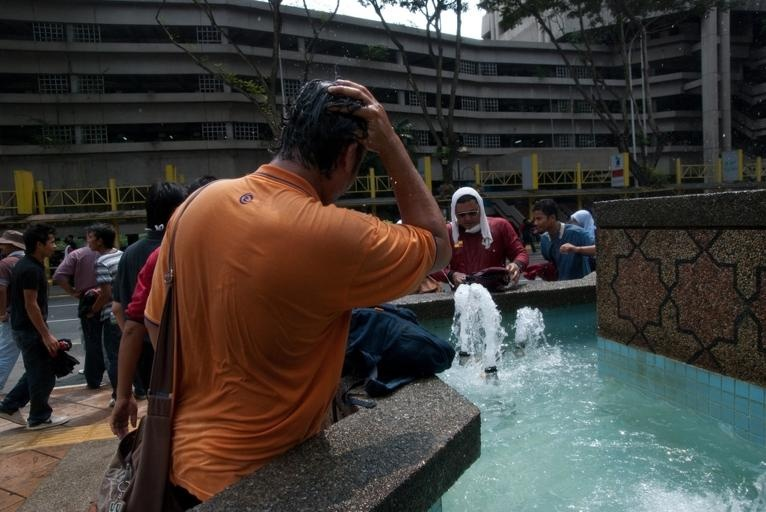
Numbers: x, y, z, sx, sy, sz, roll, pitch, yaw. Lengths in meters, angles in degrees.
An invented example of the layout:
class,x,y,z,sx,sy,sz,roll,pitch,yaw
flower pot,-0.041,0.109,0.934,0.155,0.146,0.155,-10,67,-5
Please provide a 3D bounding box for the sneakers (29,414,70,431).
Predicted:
class,x,y,z,sx,sy,sz,roll,pitch,yaw
sneakers,-3.792,1.908,6.577,0.416,0.187,0.164,-9,8,-29

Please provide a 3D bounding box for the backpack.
class,x,y,z,sx,sy,sz,roll,pitch,yaw
backpack,0.095,0.745,4.921,0.747,0.301,0.623,-6,15,-39
